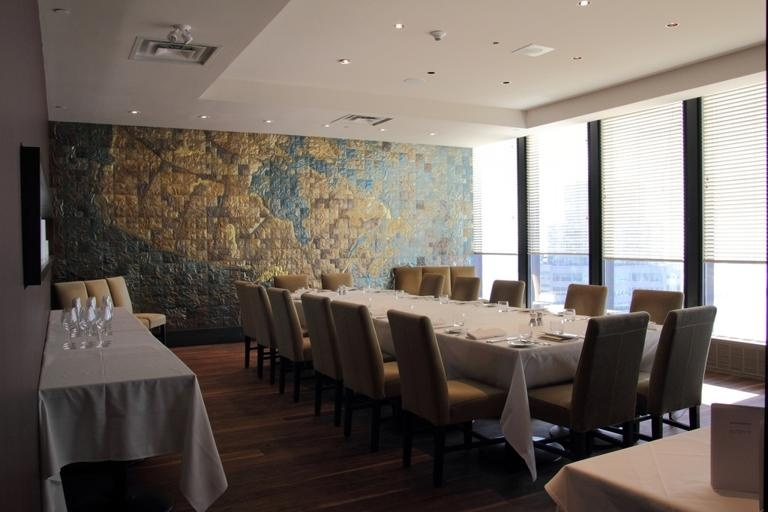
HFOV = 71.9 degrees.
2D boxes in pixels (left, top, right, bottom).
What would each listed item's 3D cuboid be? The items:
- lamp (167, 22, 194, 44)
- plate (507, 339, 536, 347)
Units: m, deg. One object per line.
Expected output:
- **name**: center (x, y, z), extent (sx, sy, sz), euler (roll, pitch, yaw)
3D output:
- **lamp**: center (-1.916, -2.096, 5.009), extent (0.229, 0.092, 0.376), euler (-3, 6, -18)
- **plate**: center (1.080, 0.686, 4.191), extent (0.233, 0.023, 0.198), euler (-2, 5, -7)
